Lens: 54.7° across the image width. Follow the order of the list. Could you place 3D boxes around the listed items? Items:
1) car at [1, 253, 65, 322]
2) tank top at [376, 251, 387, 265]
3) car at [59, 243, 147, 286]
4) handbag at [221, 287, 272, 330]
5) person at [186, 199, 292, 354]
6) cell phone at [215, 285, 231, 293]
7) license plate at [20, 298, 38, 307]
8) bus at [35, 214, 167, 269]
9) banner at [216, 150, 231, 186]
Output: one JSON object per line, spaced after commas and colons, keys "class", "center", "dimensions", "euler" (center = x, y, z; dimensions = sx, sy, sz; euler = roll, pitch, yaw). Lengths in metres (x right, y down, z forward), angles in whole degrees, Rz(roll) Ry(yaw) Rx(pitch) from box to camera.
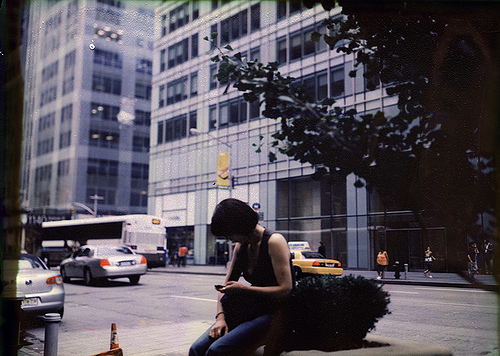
{"class": "car", "center": [-4.332, 2.311, 9.863], "dimensions": [1.502, 1.252, 2.681], "euler": [3, -9, -29]}
{"class": "tank top", "center": [5.896, 3.648, 21.620], "dimensions": [0.348, 0.466, 0.494], "euler": [2, -8, 4]}
{"class": "car", "center": [-6.239, 3.491, 19.747], "dimensions": [1.618, 1.027, 3.461], "euler": [7, -10, -38]}
{"class": "handbag", "center": [-0.036, 1.329, 5.062], "dimensions": [0.457, 0.183, 0.454], "euler": [9, -12, -10]}
{"class": "person", "center": [-0.042, 1.037, 5.027], "dimensions": [0.942, 1.184, 0.637], "euler": [4, -3, 10]}
{"class": "cell phone", "center": [-0.299, 1.151, 5.037], "dimensions": [0.115, 0.036, 0.069], "euler": [36, -38, 11]}
{"class": "license plate", "center": [-4.879, 2.752, 10.685], "dimensions": [0.141, 0.184, 0.361], "euler": [2, -4, 41]}
{"class": "bus", "center": [-10.077, 4.227, 31.667], "dimensions": [10.537, 3.108, 3.597], "euler": [-3, -8, 35]}
{"class": "banner", "center": [-1.248, -0.390, 22.060], "dimensions": [0.857, 1.594, 0.139], "euler": [0, -1, -39]}
